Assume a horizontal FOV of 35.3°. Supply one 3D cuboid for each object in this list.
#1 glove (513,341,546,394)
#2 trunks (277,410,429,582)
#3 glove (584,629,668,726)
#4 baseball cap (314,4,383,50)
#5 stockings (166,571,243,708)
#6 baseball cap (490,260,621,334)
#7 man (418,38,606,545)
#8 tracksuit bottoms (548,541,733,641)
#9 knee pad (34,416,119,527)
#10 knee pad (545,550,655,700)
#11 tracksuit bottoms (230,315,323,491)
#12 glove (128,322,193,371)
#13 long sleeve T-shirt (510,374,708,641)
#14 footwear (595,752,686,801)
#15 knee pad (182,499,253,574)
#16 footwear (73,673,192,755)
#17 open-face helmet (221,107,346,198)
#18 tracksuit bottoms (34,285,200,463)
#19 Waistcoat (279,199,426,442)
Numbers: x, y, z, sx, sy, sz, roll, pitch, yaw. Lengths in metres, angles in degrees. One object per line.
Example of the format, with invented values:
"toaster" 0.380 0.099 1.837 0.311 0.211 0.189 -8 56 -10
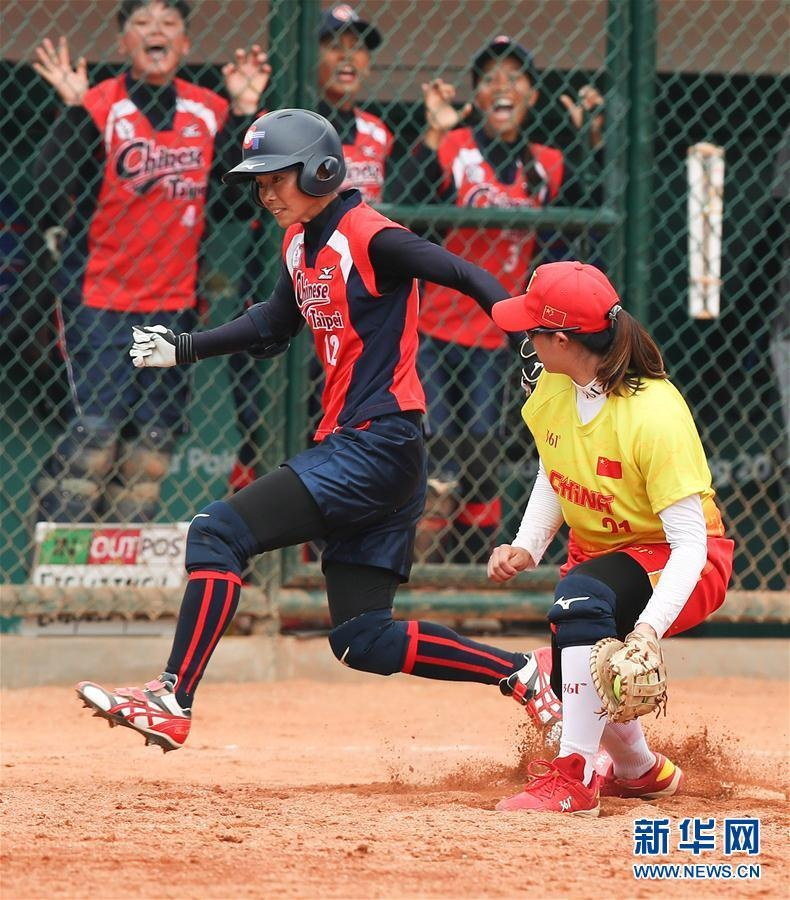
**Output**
"glove" 0.316 -0.197 2.916 0.050 0.101 0.082 -1 23 4
"trunks" -0.038 0.143 3.081 0.223 0.298 0.340 17 27 -12
"glove" 0.483 0.480 2.589 0.178 0.176 0.098 11 7 0
"baseball cap" -0.167 -1.524 4.472 0.249 0.062 0.141 12 24 10
"stockings" -0.451 0.434 2.885 0.172 0.321 0.100 1 1 4
"baseball cap" 0.355 -0.317 2.754 0.276 0.127 0.145 8 43 1
"man" 0.450 -0.425 4.623 0.962 2.090 0.760 -2 10 4
"tracksuit bottoms" 0.565 0.295 2.805 0.432 0.204 0.130 -3 48 -23
"knee pad" -1.084 0.068 4.500 0.273 0.397 0.184 24 3 13
"knee pad" 0.442 0.360 2.751 0.176 0.259 0.115 -12 -52 46
"tracksuit bottoms" -0.519 -0.101 4.547 0.456 0.473 0.239 2 1 37
"glove" -0.617 -0.236 3.185 0.137 0.123 0.226 -6 -3 6
"long sleeve T-shirt" 0.508 0.107 2.820 0.334 0.384 0.531 1 1 -19
"footwear" 0.608 0.792 3.044 0.276 0.071 0.099 -3 -28 5
"knee pad" -0.420 0.204 2.892 0.178 0.144 0.136 9 -14 -28
"footwear" -0.602 0.579 2.839 0.310 0.144 0.114 34 -27 -34
"open-face helmet" -0.228 -0.710 2.988 0.297 0.173 0.207 -20 23 -24
"tracksuit bottoms" -0.976 -0.245 4.442 0.502 0.486 0.173 -1 5 -26
"Waistcoat" -0.059 -0.329 3.048 0.322 0.536 0.380 -7 9 -26
